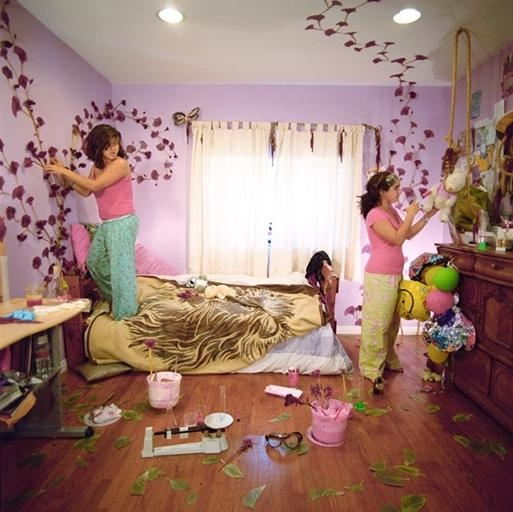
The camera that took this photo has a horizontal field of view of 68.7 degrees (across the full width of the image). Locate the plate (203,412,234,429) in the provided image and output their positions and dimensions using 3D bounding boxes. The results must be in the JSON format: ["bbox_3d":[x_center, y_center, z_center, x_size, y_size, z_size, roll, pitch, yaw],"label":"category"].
[{"bbox_3d":[-0.203,0.865,1.930,0.140,0.065,0.150,-1,6,-16],"label":"plate"}]

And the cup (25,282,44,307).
[{"bbox_3d":[-1.116,0.207,1.874,0.078,0.109,0.107,5,0,27],"label":"cup"}]

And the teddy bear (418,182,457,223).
[{"bbox_3d":[1.285,-0.371,2.618,0.194,0.272,0.221,4,6,30],"label":"teddy bear"}]

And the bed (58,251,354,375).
[{"bbox_3d":[-0.287,0.537,2.937,1.428,0.468,0.983,0,14,-5],"label":"bed"}]

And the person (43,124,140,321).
[{"bbox_3d":[-1.174,-0.237,2.797,0.541,1.441,0.410,-2,6,-21],"label":"person"}]

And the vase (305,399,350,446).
[{"bbox_3d":[0.384,0.869,2.010,0.187,0.162,0.205,2,-2,2],"label":"vase"}]
